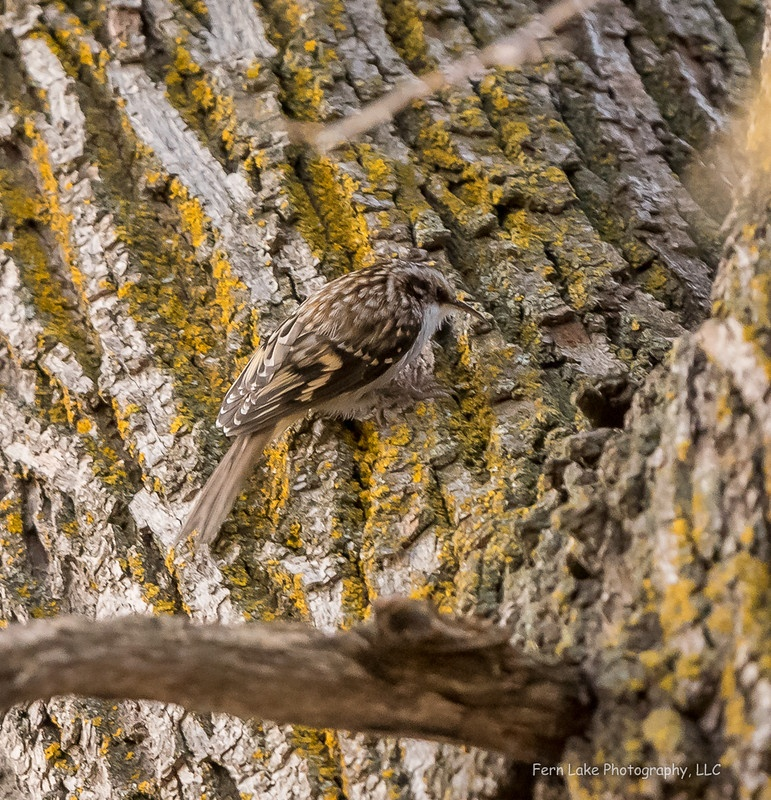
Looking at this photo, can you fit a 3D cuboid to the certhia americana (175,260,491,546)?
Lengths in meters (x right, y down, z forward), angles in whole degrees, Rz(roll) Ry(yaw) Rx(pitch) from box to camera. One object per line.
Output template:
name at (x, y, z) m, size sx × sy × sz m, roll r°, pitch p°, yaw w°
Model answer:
certhia americana at (-0.220, -0.014, 4.818) m, size 1.094 × 0.417 × 0.362 m, roll -32°, pitch 27°, yaw -21°
